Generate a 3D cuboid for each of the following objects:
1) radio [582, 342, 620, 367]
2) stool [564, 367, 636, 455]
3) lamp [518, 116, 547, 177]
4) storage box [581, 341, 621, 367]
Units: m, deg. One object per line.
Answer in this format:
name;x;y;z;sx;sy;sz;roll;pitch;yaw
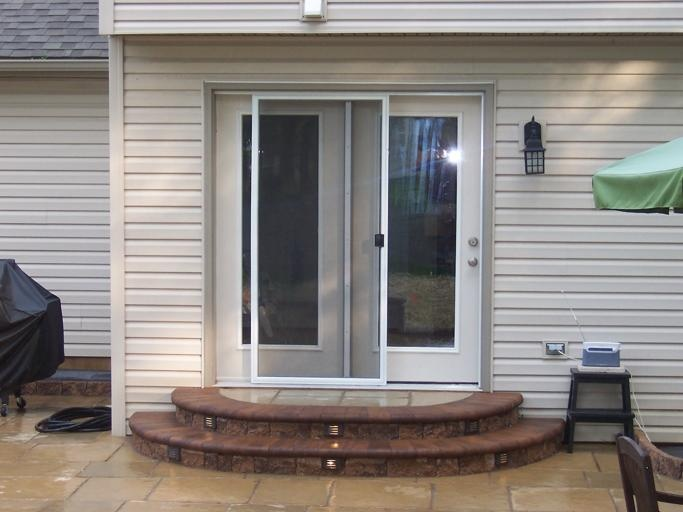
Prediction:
radio;2.392;0.906;7.313;0.377;0.235;0.209;0;-4;6
stool;2.322;1.360;7.243;0.773;0.804;0.643;0;1;8
lamp;1.785;-1.030;7.398;0.239;0.534;0.204;1;15;4
storage box;2.391;0.908;7.313;0.378;0.236;0.210;0;-4;6
